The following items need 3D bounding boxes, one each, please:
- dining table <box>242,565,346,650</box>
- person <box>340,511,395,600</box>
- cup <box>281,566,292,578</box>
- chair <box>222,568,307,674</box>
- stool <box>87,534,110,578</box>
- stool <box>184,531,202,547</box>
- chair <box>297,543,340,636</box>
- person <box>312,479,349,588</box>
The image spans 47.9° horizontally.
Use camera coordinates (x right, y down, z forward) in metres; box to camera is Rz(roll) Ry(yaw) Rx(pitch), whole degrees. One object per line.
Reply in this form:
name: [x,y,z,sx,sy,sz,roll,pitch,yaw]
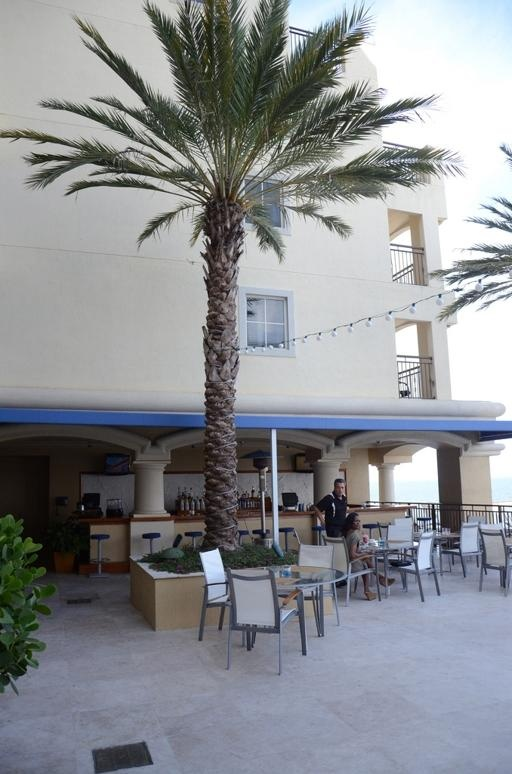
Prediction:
dining table: [0.557,2.230,6.399,1.261,0.820,1.304,-1,-14,5]
person: [1.829,2.739,9.435,0.792,1.376,1.969,-3,-11,12]
cup: [0.368,2.135,6.635,0.116,0.134,0.119,-1,-1,0]
chair: [0.081,2.200,5.639,0.653,1.005,0.712,-5,-7,29]
stool: [-3.370,3.608,12.463,0.400,0.876,0.940,2,-11,-14]
stool: [-1.386,3.350,12.841,0.388,0.292,1.022,0,-11,-8]
chair: [0.728,2.464,6.859,0.484,0.691,0.426,6,-24,-37]
person: [1.416,2.510,10.095,0.529,1.743,0.592,5,1,40]
